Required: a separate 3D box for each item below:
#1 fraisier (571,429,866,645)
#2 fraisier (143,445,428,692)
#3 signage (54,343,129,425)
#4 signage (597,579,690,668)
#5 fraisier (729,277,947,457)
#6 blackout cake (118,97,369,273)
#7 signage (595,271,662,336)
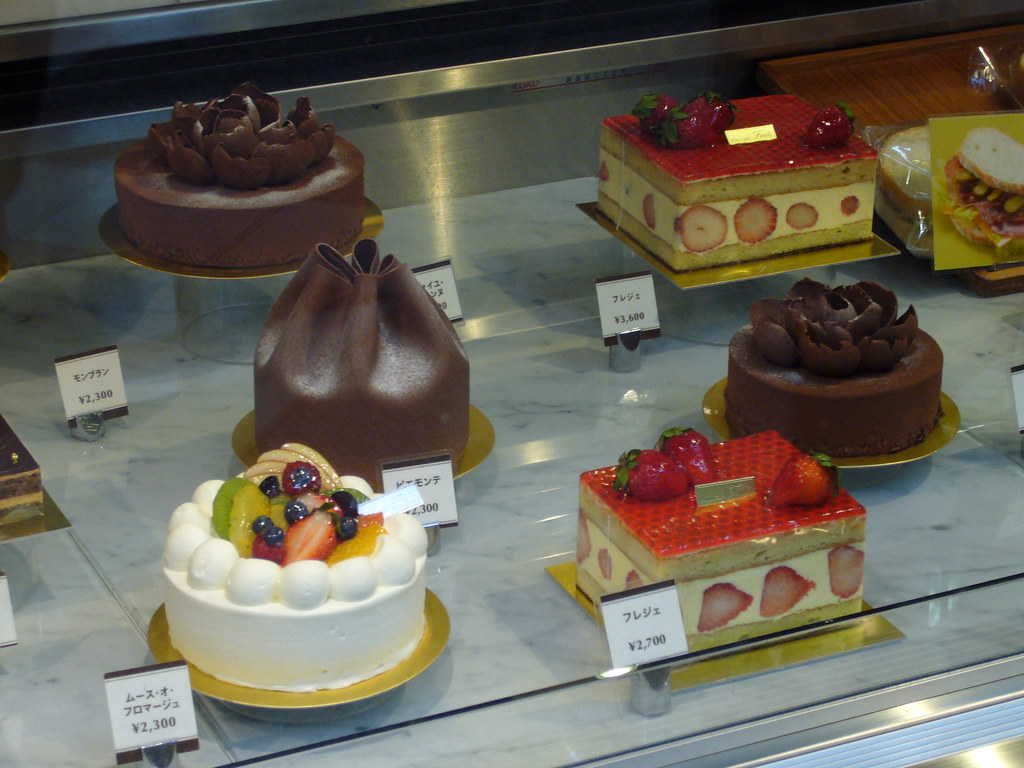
[{"bbox_3d":[0.381,0.305,1.851,0.672,0.250,0.404,-8,29,-15],"label":"fraisier"},{"bbox_3d":[-0.442,0.326,1.617,0.476,0.233,0.458,26,33,27],"label":"fraisier"},{"bbox_3d":[-1.023,0.007,2.176,0.182,0.183,0.080,-20,35,-17],"label":"signage"},{"bbox_3d":[0.239,0.434,1.604,0.168,0.135,0.098,-15,33,-11],"label":"signage"},{"bbox_3d":[0.773,-0.041,2.146,0.492,0.361,0.397,5,33,21],"label":"fraisier"},{"bbox_3d":[-0.737,-0.606,2.421,0.717,0.305,0.539,4,45,1],"label":"blackout cake"},{"bbox_3d":[0.324,-0.210,2.429,0.025,0.185,0.236,-8,1,-33],"label":"signage"}]
